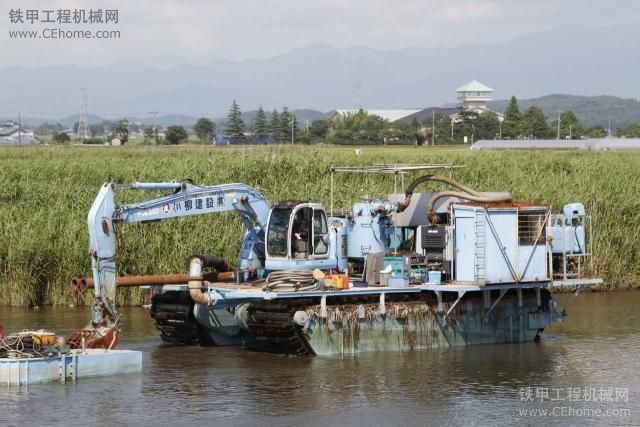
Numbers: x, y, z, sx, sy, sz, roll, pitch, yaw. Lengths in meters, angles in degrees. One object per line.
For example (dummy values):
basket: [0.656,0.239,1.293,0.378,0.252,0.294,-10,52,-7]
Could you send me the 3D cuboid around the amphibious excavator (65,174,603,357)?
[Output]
amphibious excavator: [1.671,1.585,46.032,21.304,5.298,9.869,-3,0,-12]
